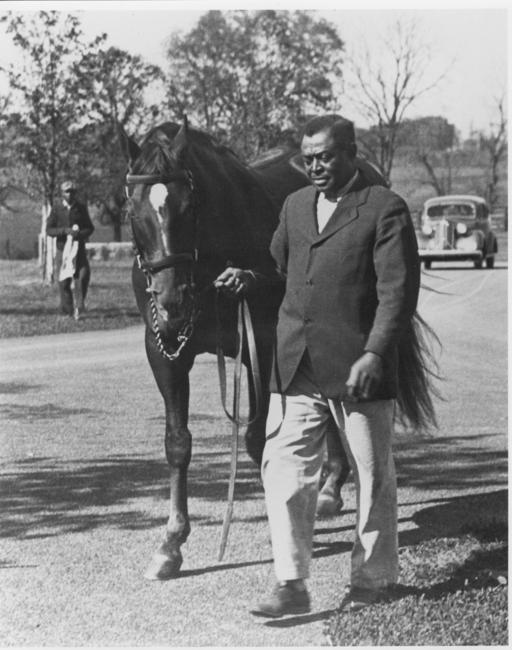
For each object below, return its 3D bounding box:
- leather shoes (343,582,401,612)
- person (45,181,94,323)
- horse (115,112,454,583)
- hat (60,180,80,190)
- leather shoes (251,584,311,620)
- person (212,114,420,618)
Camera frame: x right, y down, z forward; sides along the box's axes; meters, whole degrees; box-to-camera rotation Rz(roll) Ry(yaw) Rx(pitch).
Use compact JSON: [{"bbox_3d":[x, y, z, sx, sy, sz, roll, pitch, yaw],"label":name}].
[{"bbox_3d":[0.411,1.012,4.095,0.104,0.074,0.161,5,-14,-44],"label":"leather shoes"},{"bbox_3d":[-1.333,-0.519,7.769,0.320,1.017,0.479,-2,8,-12],"label":"person"},{"bbox_3d":[-0.065,0.178,5.445,0.592,1.970,2.576,-6,-5,15],"label":"horse"},{"bbox_3d":[-1.295,-0.954,7.516,0.144,0.075,0.041,4,9,24],"label":"hat"},{"bbox_3d":[0.099,1.016,4.116,0.222,0.156,0.104,-2,-1,-15],"label":"leather shoes"},{"bbox_3d":[0.305,0.150,4.062,0.579,1.823,0.439,1,7,9],"label":"person"}]
